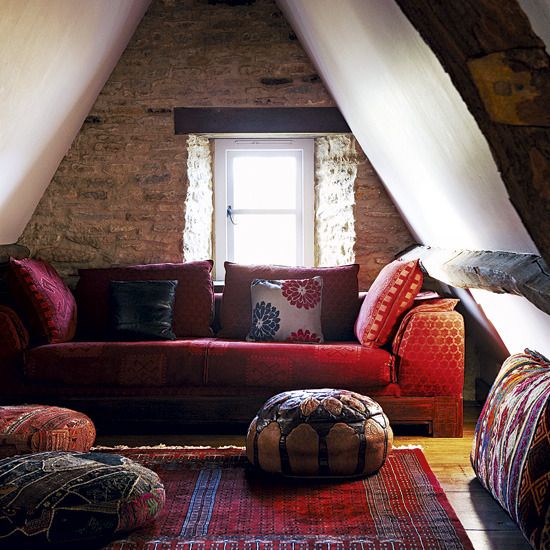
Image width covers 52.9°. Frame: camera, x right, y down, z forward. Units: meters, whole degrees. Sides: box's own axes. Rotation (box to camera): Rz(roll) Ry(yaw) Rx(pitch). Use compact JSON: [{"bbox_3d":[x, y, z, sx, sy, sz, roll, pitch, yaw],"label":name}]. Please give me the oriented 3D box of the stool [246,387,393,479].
[{"bbox_3d":[0.188,0.679,2.557,0.711,0.272,0.641,-1,1,-7],"label":"stool"}]
